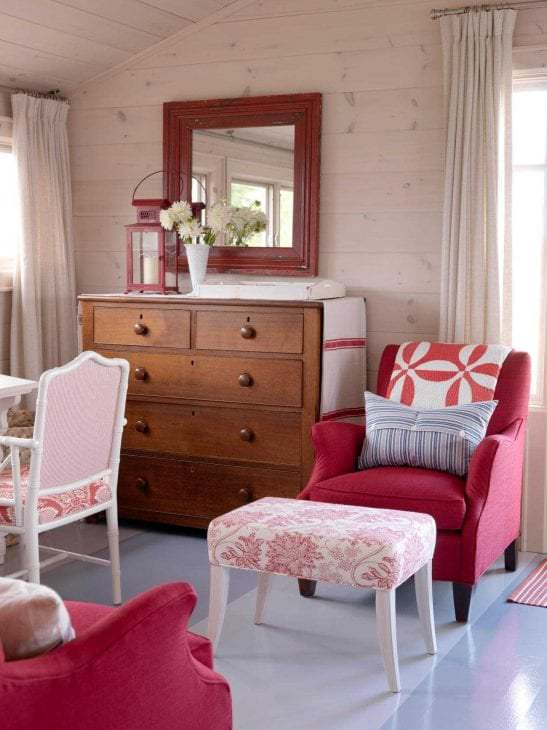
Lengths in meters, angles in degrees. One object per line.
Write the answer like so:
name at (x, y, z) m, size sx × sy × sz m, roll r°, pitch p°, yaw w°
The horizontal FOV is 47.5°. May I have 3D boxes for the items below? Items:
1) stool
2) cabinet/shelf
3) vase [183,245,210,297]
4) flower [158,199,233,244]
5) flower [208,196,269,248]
stool at (0.154, 0.515, 1.879) m, size 0.781 × 0.468 × 0.467 m, roll 3°, pitch 3°, yaw 26°
cabinet/shelf at (-0.292, 0.202, 2.779) m, size 1.224 × 1.061 × 0.478 m, roll 2°, pitch 3°, yaw 22°
vase at (-0.404, -0.516, 3.283) m, size 0.122 × 0.257 × 0.201 m, roll 1°, pitch 2°, yaw -10°
flower at (-0.417, -0.721, 3.349) m, size 0.308 × 0.213 × 0.292 m, roll 0°, pitch 5°, yaw -4°
flower at (-0.202, -0.770, 3.376) m, size 0.288 × 0.229 × 0.275 m, roll 2°, pitch 12°, yaw -4°
